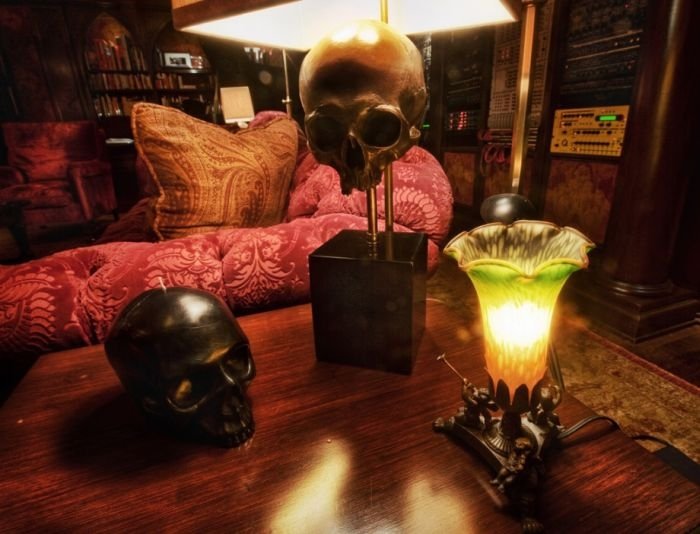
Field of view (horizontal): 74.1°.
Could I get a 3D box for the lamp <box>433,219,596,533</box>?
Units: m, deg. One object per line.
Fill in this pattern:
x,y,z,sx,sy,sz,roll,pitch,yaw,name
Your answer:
0.308,0.168,0.924,0.329,0.501,0.368,7,22,26,lamp
